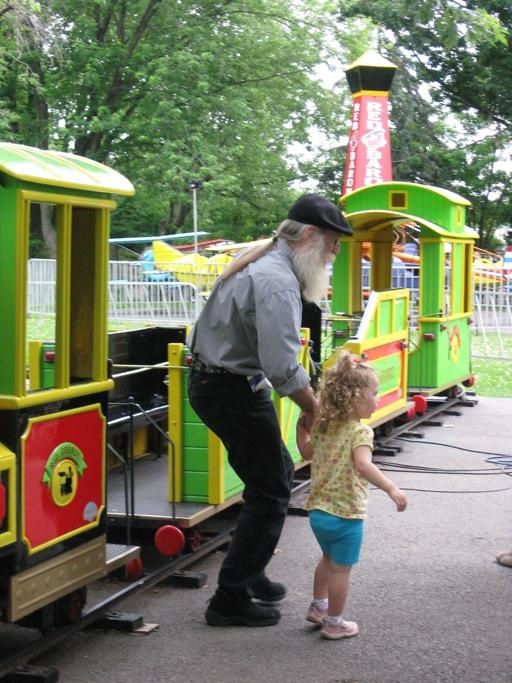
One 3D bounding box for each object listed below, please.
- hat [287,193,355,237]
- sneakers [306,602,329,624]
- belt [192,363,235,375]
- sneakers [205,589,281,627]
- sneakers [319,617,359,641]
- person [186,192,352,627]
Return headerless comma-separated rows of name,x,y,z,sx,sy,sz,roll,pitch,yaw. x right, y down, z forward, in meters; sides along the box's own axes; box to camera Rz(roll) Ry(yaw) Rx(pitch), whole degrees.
hat,0.275,-0.506,2.673,0.252,0.108,0.171,5,13,-14
sneakers,0.261,1.171,2.888,0.057,0.064,0.151,2,-3,29
belt,-0.197,0.114,2.753,0.088,0.021,0.079,16,-4,-10
sneakers,-0.086,1.155,2.944,0.397,0.173,0.135,1,5,-8
sneakers,0.349,1.195,2.820,0.201,0.087,0.074,-1,4,-32
person,0.048,0.319,2.723,0.447,1.827,0.636,2,-3,-35
